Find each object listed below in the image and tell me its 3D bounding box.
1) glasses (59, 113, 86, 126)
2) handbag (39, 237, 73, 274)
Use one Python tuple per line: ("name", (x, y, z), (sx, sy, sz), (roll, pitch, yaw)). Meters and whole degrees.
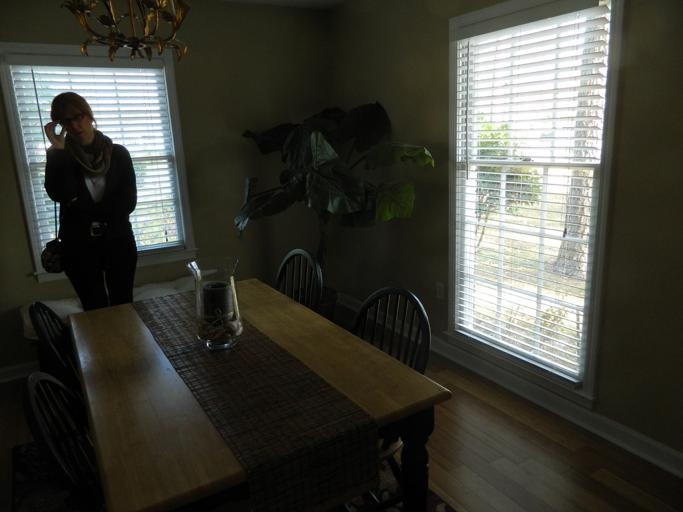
("glasses", (-1.757, -0.884, 3.339), (0.090, 0.099, 0.028), (-15, -5, -4))
("handbag", (-1.923, -0.015, 3.466), (0.154, 0.198, 0.210), (26, 24, 36))
